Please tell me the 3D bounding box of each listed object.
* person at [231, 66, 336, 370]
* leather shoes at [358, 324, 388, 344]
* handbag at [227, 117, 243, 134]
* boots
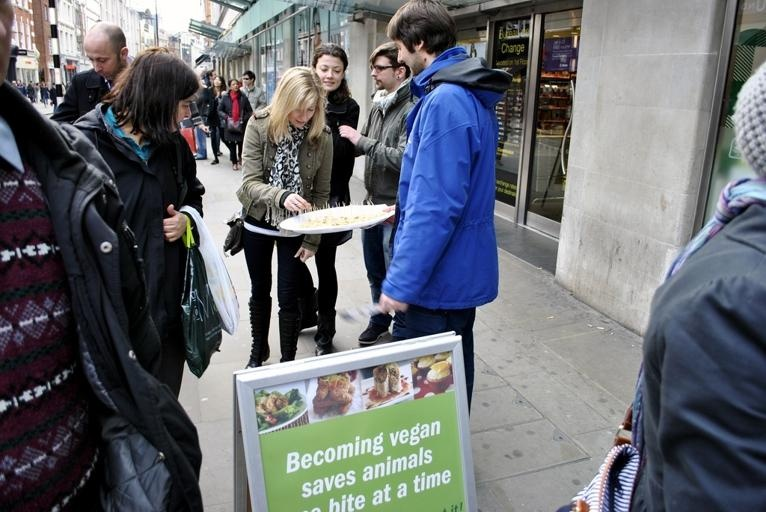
[{"bbox_3d":[-0.774,-0.254,3.995,0.760,2.431,0.549,-4,17,-17],"label":"person"},{"bbox_3d":[-0.103,0.743,4.747,0.344,0.163,0.128,-7,6,-41],"label":"leather shoes"},{"bbox_3d":[-3.865,-3.396,12.778,0.479,0.202,0.520,1,56,-13],"label":"handbag"},{"bbox_3d":[-0.853,0.596,4.398,0.680,0.685,0.554,0,2,-29],"label":"boots"}]
